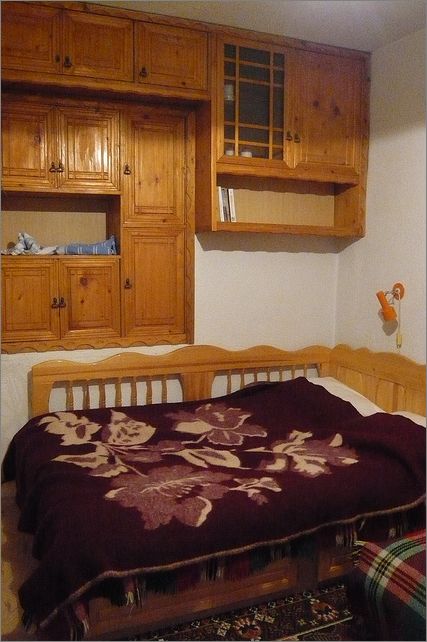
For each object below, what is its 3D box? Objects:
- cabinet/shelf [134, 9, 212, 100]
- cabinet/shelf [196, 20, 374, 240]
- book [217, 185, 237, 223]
[{"bbox_3d":[-0.160,-1.294,2.432,0.408,0.300,0.224,15,36,16],"label":"cabinet/shelf"},{"bbox_3d":[0.356,-0.960,2.705,0.934,0.947,0.281,-4,12,-21],"label":"cabinet/shelf"},{"bbox_3d":[0.075,-0.587,2.538,0.107,0.170,0.059,-2,8,-32],"label":"book"}]
